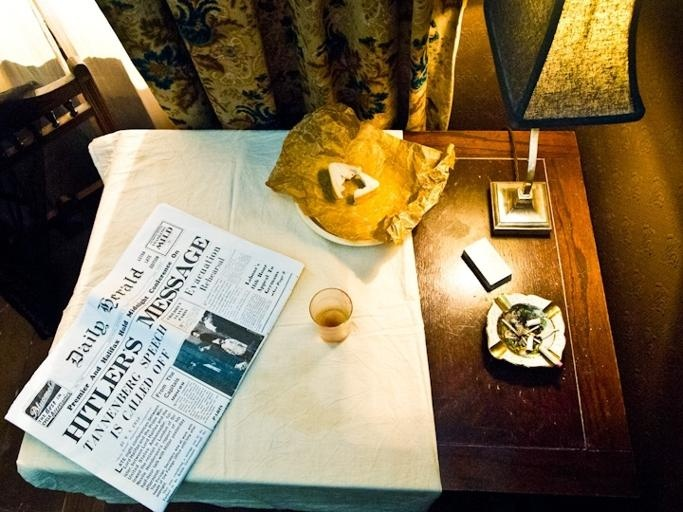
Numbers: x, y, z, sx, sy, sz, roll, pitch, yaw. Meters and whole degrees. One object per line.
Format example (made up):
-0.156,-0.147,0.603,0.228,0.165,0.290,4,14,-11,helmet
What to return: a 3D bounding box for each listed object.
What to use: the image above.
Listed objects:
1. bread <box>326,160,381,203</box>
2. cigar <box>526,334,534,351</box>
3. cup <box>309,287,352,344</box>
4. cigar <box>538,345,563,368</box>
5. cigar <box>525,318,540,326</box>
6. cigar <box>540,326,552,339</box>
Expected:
0.019,-0.167,1.071,0.093,0.026,0.074,2,80,0,bread
0.357,0.164,0.985,0.014,0.006,0.026,4,75,25,cigar
-0.020,0.113,1.002,0.082,0.076,0.080,-6,47,6,cup
0.392,0.186,0.979,0.022,0.016,0.044,-33,50,-18,cigar
0.367,0.127,0.998,0.017,0.004,0.016,0,68,8,cigar
0.393,0.145,0.996,0.027,0.009,0.016,-36,51,-21,cigar
